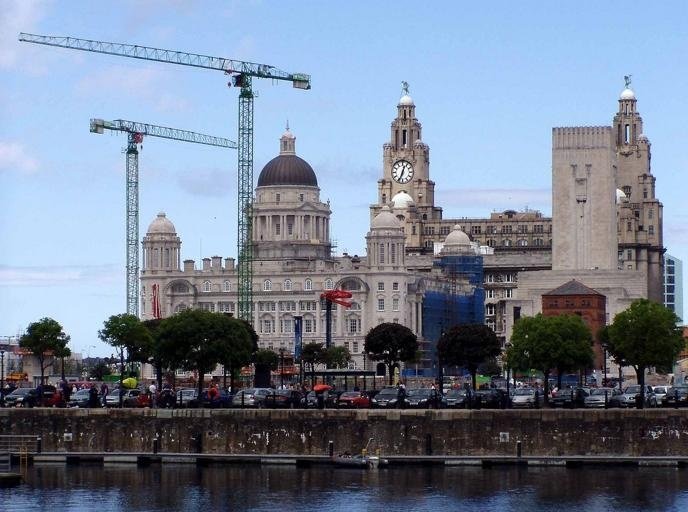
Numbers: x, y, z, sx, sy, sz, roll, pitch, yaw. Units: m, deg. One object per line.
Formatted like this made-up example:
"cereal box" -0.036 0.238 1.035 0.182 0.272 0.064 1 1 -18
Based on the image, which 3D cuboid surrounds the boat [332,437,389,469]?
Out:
"boat" 1.447 15.667 170.233 4.093 2.528 2.350 -2 -7 0
